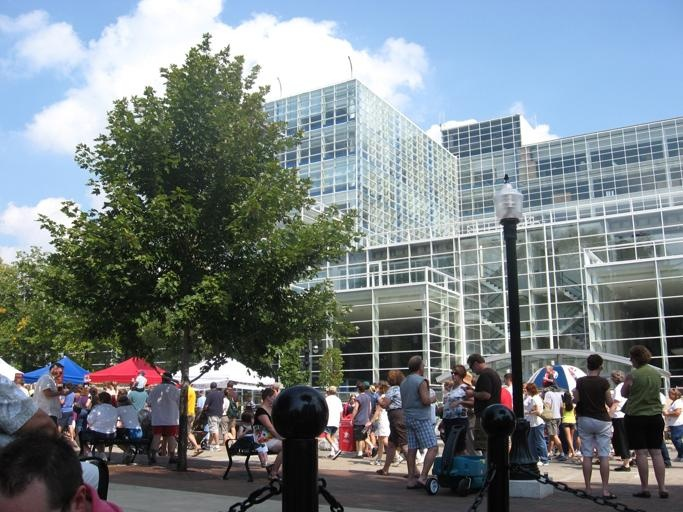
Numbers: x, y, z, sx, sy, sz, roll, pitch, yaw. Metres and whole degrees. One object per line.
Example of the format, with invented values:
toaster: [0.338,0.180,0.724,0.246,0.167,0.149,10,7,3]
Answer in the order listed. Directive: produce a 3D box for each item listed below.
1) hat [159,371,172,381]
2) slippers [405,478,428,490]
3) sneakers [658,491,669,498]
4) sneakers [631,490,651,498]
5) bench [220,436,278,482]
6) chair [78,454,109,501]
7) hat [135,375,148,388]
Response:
hat: [-4.005,2.738,16.786,0.236,0.199,0.227,7,-7,-44]
slippers: [1.254,3.795,12.185,0.441,0.152,0.140,0,-5,-29]
sneakers: [4.833,3.558,10.987,0.246,0.104,0.108,12,-19,-35]
sneakers: [4.497,3.558,11.034,0.104,0.091,0.268,1,-4,-35]
bench: [-1.836,3.683,13.930,1.081,1.227,1.041,1,-8,1]
chair: [-2.267,2.033,6.725,0.265,0.378,0.778,7,-16,-17]
hat: [-5.328,3.340,19.380,0.170,0.539,0.582,-2,-10,-25]
